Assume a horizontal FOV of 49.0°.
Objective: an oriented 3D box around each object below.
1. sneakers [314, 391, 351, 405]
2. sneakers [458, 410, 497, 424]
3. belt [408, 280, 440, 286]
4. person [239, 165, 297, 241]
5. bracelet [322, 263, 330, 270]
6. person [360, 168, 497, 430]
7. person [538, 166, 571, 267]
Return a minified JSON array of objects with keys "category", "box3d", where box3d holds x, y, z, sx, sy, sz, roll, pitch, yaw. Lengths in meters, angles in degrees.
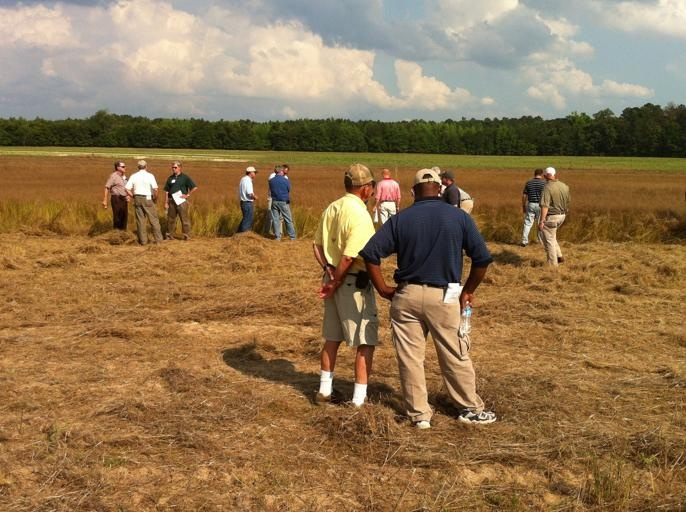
[{"category":"sneakers","box3d":[-0.150,1.783,9.399,0.462,0.215,0.178,1,8,-9]},{"category":"sneakers","box3d":[1.600,1.894,8.932,0.401,0.228,0.186,0,4,-3]},{"category":"belt","box3d":[0.929,0.316,8.636,0.346,0.062,0.024,2,10,9]},{"category":"person","box3d":[-1.863,-1.330,18.618,1.342,1.833,1.192,-1,10,-5]},{"category":"bracelet","box3d":[-0.213,0.128,9.115,0.060,0.053,0.065,1,-3,-11]},{"category":"person","box3d":[1.018,0.513,8.790,1.376,2.997,0.459,2,9,11]},{"category":"person","box3d":[4.276,-0.783,15.334,0.544,2.041,0.976,3,10,15]}]
